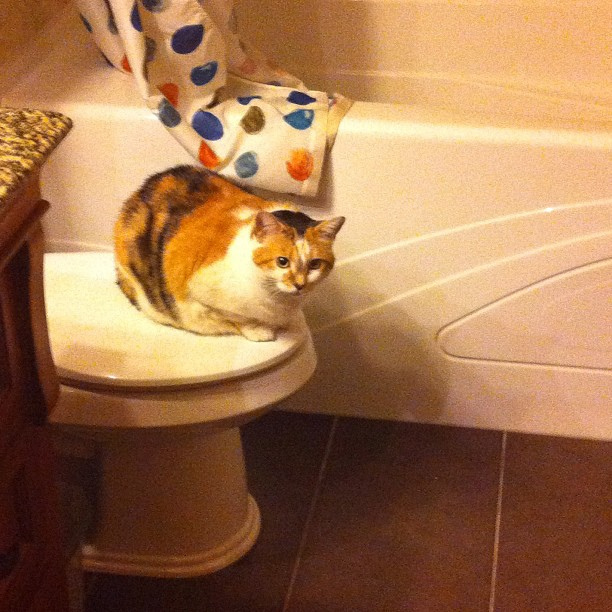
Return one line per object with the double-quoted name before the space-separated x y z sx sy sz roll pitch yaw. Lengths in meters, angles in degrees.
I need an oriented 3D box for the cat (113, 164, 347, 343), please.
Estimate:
"cat" -0.109 -0.096 0.879 0.320 0.164 0.285 9 55 10
